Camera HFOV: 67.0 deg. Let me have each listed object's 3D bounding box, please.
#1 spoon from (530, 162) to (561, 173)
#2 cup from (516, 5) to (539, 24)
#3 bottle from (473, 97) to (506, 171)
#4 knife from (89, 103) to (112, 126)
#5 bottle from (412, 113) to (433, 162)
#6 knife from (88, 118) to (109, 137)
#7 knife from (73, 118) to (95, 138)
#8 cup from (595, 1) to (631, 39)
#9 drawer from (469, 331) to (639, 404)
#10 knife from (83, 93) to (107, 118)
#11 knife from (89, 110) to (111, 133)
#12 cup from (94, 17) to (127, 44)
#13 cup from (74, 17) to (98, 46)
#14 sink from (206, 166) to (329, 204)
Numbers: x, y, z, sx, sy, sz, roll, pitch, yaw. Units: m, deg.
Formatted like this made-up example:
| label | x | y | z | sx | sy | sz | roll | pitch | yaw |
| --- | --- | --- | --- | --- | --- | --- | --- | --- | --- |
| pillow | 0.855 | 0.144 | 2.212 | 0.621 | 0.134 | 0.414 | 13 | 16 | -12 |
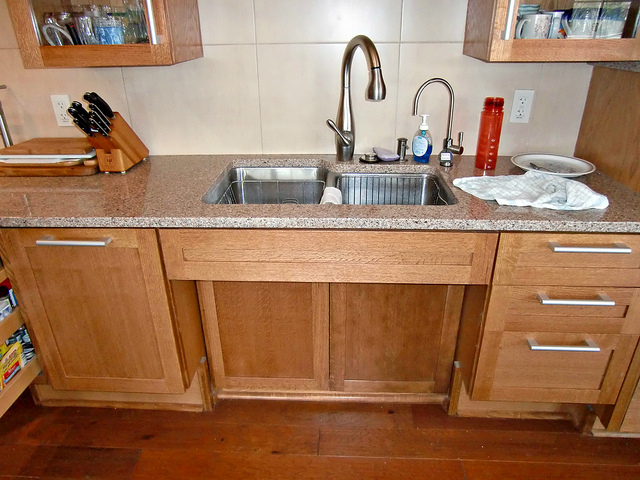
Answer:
| label | x | y | z | sx | sy | sz | roll | pitch | yaw |
| --- | --- | --- | --- | --- | --- | --- | --- | --- | --- |
| spoon | 0.977 | -0.321 | 2.123 | 0.145 | 0.030 | 0.019 | 17 | 64 | 27 |
| cup | 0.804 | -0.861 | 1.860 | 0.073 | 0.037 | 0.104 | 16 | 34 | 35 |
| bottle | 0.747 | -0.468 | 2.134 | 0.106 | 0.311 | 0.160 | 5 | 26 | 17 |
| knife | -0.912 | -0.523 | 2.005 | 0.031 | 0.108 | 0.026 | -1 | 44 | 43 |
| bottle | 0.465 | -0.456 | 2.170 | 0.073 | 0.213 | 0.084 | 16 | 32 | 35 |
| knife | -0.928 | -0.470 | 2.032 | 0.027 | 0.092 | 0.026 | -21 | 14 | 45 |
| knife | -0.977 | -0.461 | 2.001 | 0.027 | 0.096 | 0.022 | -32 | 38 | 31 |
| cup | 1.092 | -0.816 | 1.796 | 0.099 | 0.121 | 0.049 | 5 | 27 | 17 |
| drawer | 0.965 | 0.451 | 2.063 | 0.691 | 0.351 | 0.326 | 2 | 33 | 3 |
| knife | -0.927 | -0.551 | 1.993 | 0.068 | 0.100 | 0.058 | -13 | 27 | -20 |
| knife | -0.915 | -0.490 | 2.014 | 0.029 | 0.113 | 0.029 | -9 | 51 | 31 |
| cup | -0.804 | -0.820 | 1.929 | 0.115 | 0.106 | 0.098 | 7 | 41 | 0 |
| cup | -0.920 | -0.815 | 1.892 | 0.066 | 0.098 | 0.033 | -6 | 26 | -5 |
| sink | -0.200 | -0.223 | 2.197 | 0.494 | 0.172 | 0.288 | -2 | 23 | 1 |
